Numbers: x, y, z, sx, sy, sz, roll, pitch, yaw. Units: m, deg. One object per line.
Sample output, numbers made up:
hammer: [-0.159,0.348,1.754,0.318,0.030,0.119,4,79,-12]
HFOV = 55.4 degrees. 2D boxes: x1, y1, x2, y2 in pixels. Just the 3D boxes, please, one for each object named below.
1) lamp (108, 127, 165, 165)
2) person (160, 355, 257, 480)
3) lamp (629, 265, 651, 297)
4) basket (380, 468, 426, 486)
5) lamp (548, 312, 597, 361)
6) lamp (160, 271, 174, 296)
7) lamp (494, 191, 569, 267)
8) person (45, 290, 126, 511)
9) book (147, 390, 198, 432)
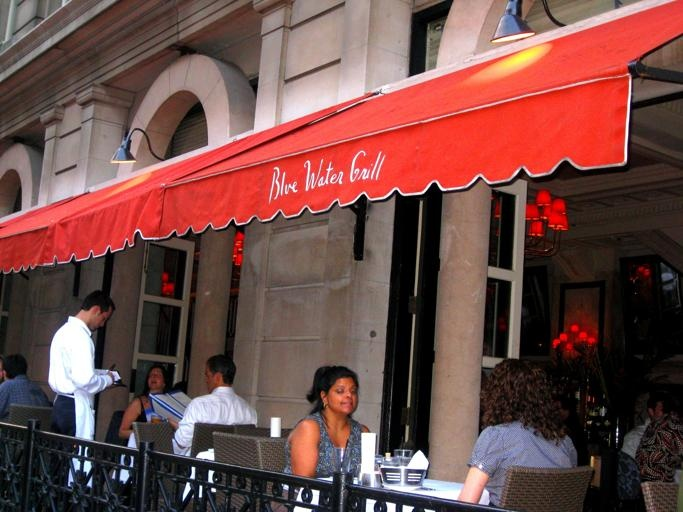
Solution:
lamp: [-2.638,-1.468,8.654,0.757,0.421,0.274,-3,11,-35]
person: [-1.324,1.621,6.435,0.714,1.295,0.819,12,-8,-12]
lamp: [7.234,0.554,15.660,0.141,0.673,0.521,10,-17,-32]
basket: [0.392,1.401,4.187,0.162,0.062,0.163,1,-7,-3]
lamp: [5.502,1.924,15.138,1.099,1.184,0.873,-7,7,-44]
lamp: [-2.882,0.464,10.783,0.058,0.387,0.245,-12,-19,44]
lamp: [2.728,-0.435,9.182,1.076,0.885,1.119,4,-14,-5]
person: [-2.399,1.447,6.031,0.559,2.199,0.747,3,3,-35]
book: [-1.873,1.611,7.104,0.468,0.188,0.477,32,33,24]
